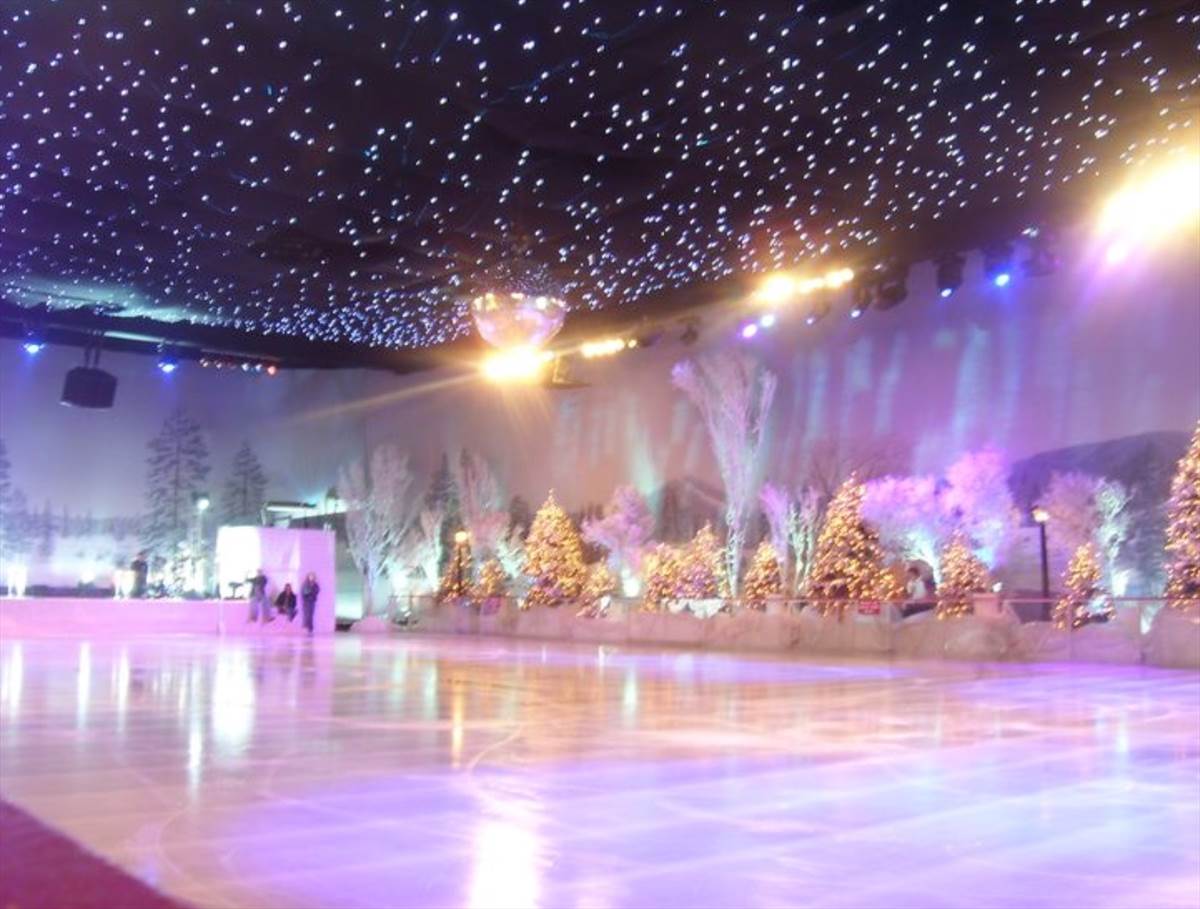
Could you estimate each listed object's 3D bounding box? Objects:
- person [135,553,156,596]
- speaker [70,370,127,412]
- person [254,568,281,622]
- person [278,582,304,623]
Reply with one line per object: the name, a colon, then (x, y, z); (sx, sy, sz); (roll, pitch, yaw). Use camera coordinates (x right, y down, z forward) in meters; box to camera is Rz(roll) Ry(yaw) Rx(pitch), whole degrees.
person: (-12.644, 3.319, 23.784); (0.357, 1.191, 2.082); (4, -9, -28)
speaker: (-10.866, -1.442, 18.510); (0.902, 0.849, 0.660); (4, -8, -24)
person: (-8.865, 3.707, 22.593); (0.454, 1.352, 1.005); (1, -7, -8)
person: (-8.441, 4.009, 23.383); (0.428, 0.989, 0.755); (0, -7, 4)
